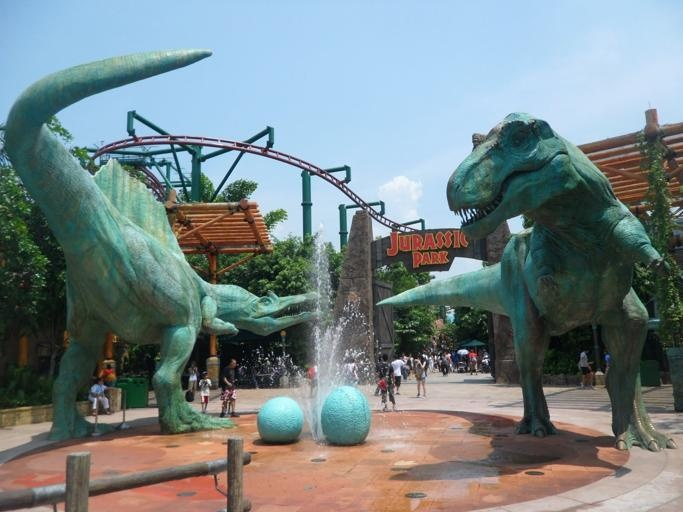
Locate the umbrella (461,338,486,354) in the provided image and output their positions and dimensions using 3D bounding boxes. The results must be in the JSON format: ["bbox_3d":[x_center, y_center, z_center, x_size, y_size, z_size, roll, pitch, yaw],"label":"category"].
[{"bbox_3d":[9.970,6.822,44.781,1.862,0.826,1.919,-4,-11,19],"label":"umbrella"}]

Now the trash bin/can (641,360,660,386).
[{"bbox_3d":[10.570,4.000,20.133,0.876,0.897,0.483,5,-15,-38],"label":"trash bin/can"}]

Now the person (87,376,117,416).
[{"bbox_3d":[-5.910,3.405,14.403,0.540,0.807,0.573,0,-3,14],"label":"person"}]

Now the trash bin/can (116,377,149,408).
[{"bbox_3d":[-6.293,4.208,17.820,0.752,0.946,0.942,11,-28,-37],"label":"trash bin/can"}]
